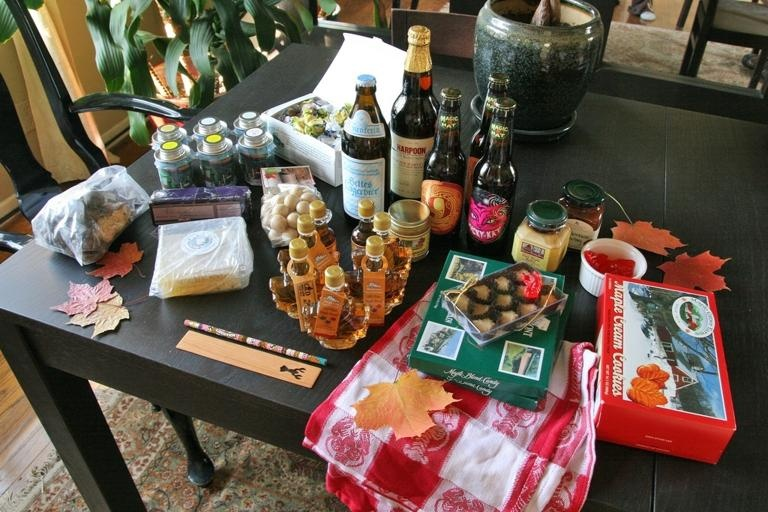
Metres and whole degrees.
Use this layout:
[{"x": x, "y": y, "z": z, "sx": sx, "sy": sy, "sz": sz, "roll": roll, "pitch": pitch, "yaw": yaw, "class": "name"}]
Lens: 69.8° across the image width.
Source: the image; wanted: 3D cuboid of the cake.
[{"x": 0.222, "y": 0.087, "z": 1.050, "sx": 0.192, "sy": 0.058, "sz": 0.133, "roll": -20, "pitch": 54, "yaw": -14, "class": "cake"}]

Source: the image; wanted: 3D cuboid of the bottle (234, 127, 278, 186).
[{"x": -0.310, "y": -0.240, "z": 1.340, "sx": 0.092, "sy": 0.138, "sz": 0.087, "roll": 3, "pitch": 53, "yaw": -4, "class": "bottle"}]

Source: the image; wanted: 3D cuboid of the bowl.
[{"x": 0.468, "y": 0.009, "z": 1.114, "sx": 0.128, "sy": 0.058, "sz": 0.127, "roll": -2, "pitch": 48, "yaw": 2, "class": "bowl"}]

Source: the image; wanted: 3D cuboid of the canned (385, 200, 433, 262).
[{"x": 0.055, "y": -0.075, "z": 1.226, "sx": 0.106, "sy": 0.116, "sz": 0.111, "roll": -14, "pitch": 51, "yaw": -8, "class": "canned"}]

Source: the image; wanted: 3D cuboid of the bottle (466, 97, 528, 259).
[{"x": 0.237, "y": -0.171, "z": 1.172, "sx": 0.104, "sy": 0.339, "sz": 0.142, "roll": 11, "pitch": 41, "yaw": 12, "class": "bottle"}]

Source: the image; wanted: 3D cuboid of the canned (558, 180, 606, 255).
[{"x": 0.422, "y": -0.077, "z": 1.185, "sx": 0.076, "sy": 0.139, "sz": 0.085, "roll": 16, "pitch": 56, "yaw": 16, "class": "canned"}]

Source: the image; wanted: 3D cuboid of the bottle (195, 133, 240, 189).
[{"x": -0.402, "y": -0.227, "z": 1.329, "sx": 0.092, "sy": 0.145, "sz": 0.087, "roll": 3, "pitch": 52, "yaw": -3, "class": "bottle"}]

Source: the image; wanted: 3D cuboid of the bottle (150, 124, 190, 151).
[{"x": -0.519, "y": -0.290, "z": 1.361, "sx": 0.082, "sy": 0.024, "sz": 0.088, "roll": 3, "pitch": 47, "yaw": -3, "class": "bottle"}]

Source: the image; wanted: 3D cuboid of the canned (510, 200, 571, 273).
[{"x": 0.329, "y": -0.036, "z": 1.150, "sx": 0.093, "sy": 0.117, "sz": 0.086, "roll": 25, "pitch": 54, "yaw": 16, "class": "canned"}]

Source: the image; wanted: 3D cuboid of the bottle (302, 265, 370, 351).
[{"x": -0.094, "y": 0.102, "z": 1.063, "sx": 0.138, "sy": 0.204, "sz": 0.079, "roll": 7, "pitch": 53, "yaw": 0, "class": "bottle"}]
